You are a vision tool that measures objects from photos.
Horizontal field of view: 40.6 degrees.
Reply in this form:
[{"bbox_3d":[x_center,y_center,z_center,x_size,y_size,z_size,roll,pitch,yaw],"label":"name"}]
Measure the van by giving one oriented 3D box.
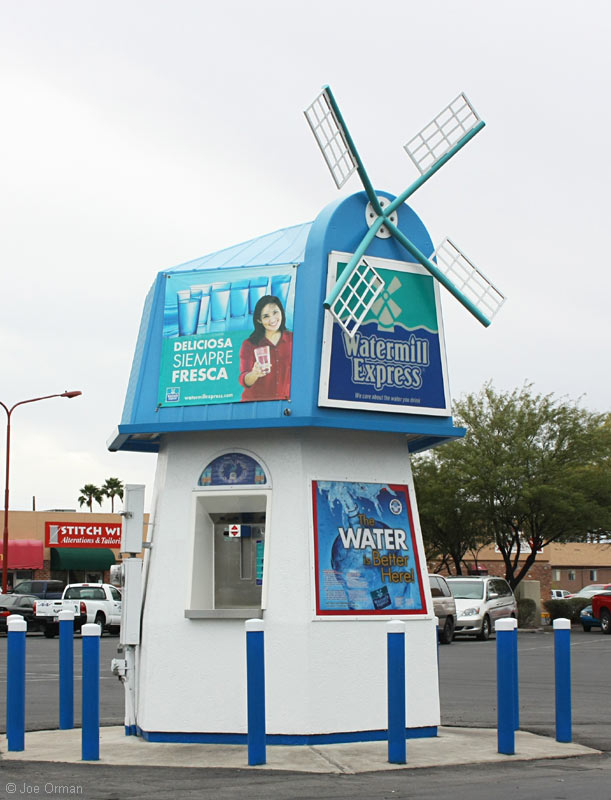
[{"bbox_3d":[5.867,7.169,28.645,1.716,2.493,5.772,-6,-9,23],"label":"van"}]
